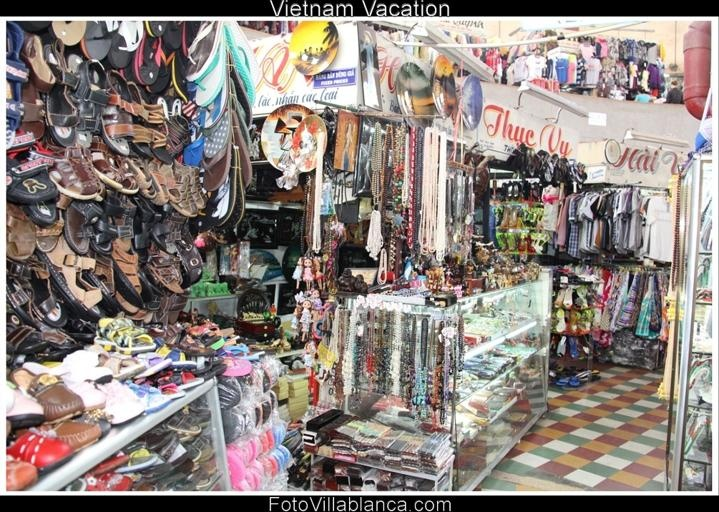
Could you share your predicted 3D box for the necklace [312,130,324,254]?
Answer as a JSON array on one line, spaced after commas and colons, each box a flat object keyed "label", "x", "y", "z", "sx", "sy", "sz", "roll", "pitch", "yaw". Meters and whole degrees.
[{"label": "necklace", "x": -0.286, "y": -0.453, "z": 3.631, "sx": 0.088, "sy": 0.841, "sz": 0.186, "roll": 1, "pitch": 3, "yaw": 16}]

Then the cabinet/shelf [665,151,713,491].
[{"label": "cabinet/shelf", "x": 2.282, "y": 0.500, "z": 3.494, "sx": 0.255, "sy": 2.345, "sz": 0.351, "roll": 2, "pitch": 3, "yaw": 31}]

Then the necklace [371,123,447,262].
[{"label": "necklace", "x": 0.377, "y": -0.464, "z": 3.948, "sx": 0.631, "sy": 1.082, "sz": 0.353, "roll": 0, "pitch": 3, "yaw": 3}]

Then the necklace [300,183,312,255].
[{"label": "necklace", "x": -0.377, "y": -0.294, "z": 3.729, "sx": 0.076, "sy": 0.529, "sz": 0.321, "roll": 0, "pitch": 3, "yaw": -8}]

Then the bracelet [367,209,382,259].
[{"label": "bracelet", "x": 0.125, "y": -0.161, "z": 3.898, "sx": 0.098, "sy": 0.386, "sz": 0.213, "roll": 1, "pitch": 3, "yaw": 24}]

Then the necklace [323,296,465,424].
[{"label": "necklace", "x": 0.249, "y": 0.724, "z": 3.674, "sx": 0.873, "sy": 0.843, "sz": 0.327, "roll": 3, "pitch": -3, "yaw": 20}]

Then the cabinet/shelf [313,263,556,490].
[{"label": "cabinet/shelf", "x": 0.526, "y": 0.939, "z": 3.949, "sx": 0.685, "sy": 1.046, "sz": 1.791, "roll": 0, "pitch": 1, "yaw": 26}]
